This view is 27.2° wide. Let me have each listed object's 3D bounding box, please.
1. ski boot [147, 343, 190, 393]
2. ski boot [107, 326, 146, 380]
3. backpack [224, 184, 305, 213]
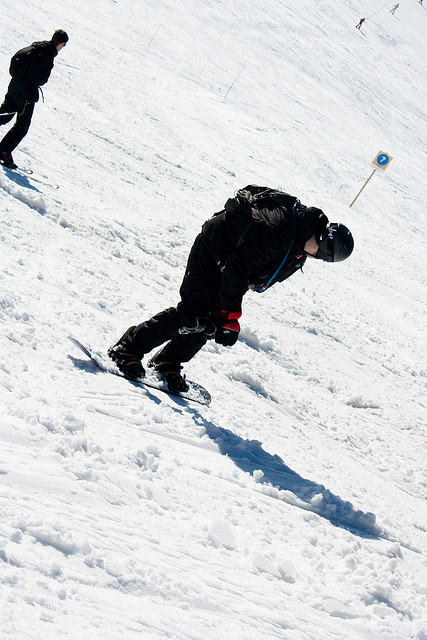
[{"bbox_3d":[-0.357,0.374,6.775,0.388,0.186,0.132,44,33,8],"label":"ski boot"},{"bbox_3d":[-0.648,0.242,6.537,0.412,0.191,0.141,45,23,9],"label":"ski boot"},{"bbox_3d":[0.354,-0.852,6.220,0.402,0.128,0.286,6,15,-4],"label":"backpack"}]
